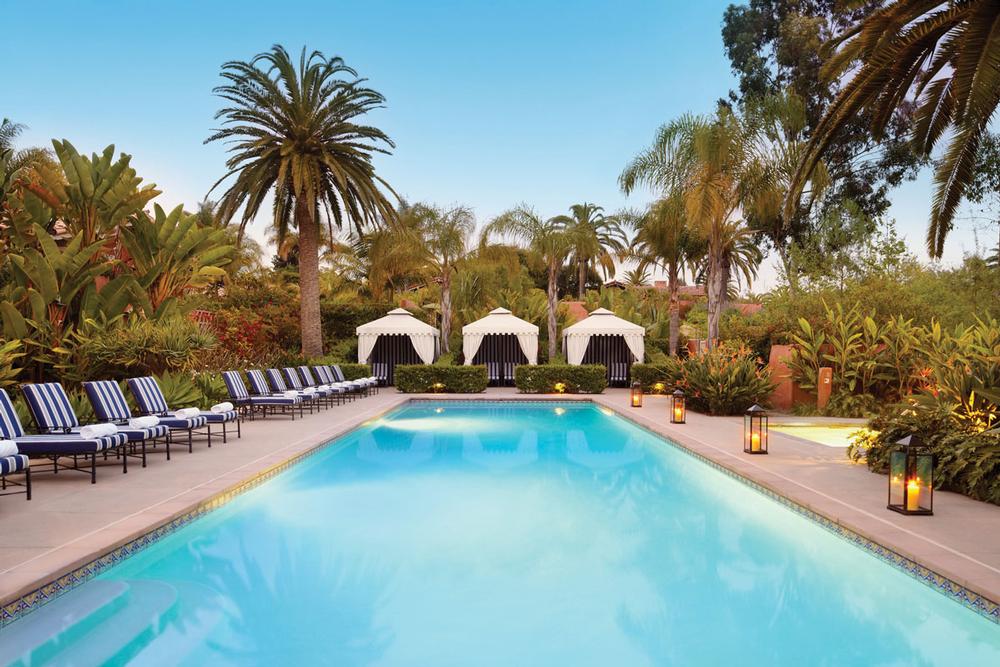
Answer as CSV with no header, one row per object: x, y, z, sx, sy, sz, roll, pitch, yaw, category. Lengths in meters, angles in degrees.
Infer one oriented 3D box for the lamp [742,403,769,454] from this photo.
4.900,1.781,12.649,0.489,0.908,0.472,1,0,28,lamp

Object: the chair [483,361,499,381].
-0.367,1.545,27.039,0.665,0.988,0.530,0,0,18,chair

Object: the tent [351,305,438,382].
-4.229,0.285,27.486,3.424,2.596,3.591,-3,-9,9,tent

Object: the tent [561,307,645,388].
3.974,0.571,26.381,2.758,3.040,2.958,2,13,6,tent

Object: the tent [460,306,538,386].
-0.040,0.394,26.476,2.978,2.711,3.095,0,-3,-1,tent

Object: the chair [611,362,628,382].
4.841,1.542,27.106,0.828,0.851,0.597,2,-9,-9,chair

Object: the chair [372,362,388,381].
-4.978,1.469,27.235,0.793,0.824,0.611,0,-6,2,chair

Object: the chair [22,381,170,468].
-7.008,1.488,11.187,1.776,1.253,1.109,3,4,16,chair

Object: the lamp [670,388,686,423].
4.305,1.753,15.905,0.361,0.778,0.381,1,13,5,lamp

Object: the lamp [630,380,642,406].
4.006,1.744,19.298,0.314,0.615,0.839,2,13,9,lamp

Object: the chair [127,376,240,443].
-6.539,1.530,13.438,2.077,1.641,1.245,0,-1,2,chair

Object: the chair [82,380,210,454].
-6.627,1.497,12.519,1.864,1.312,1.142,-2,0,-7,chair
